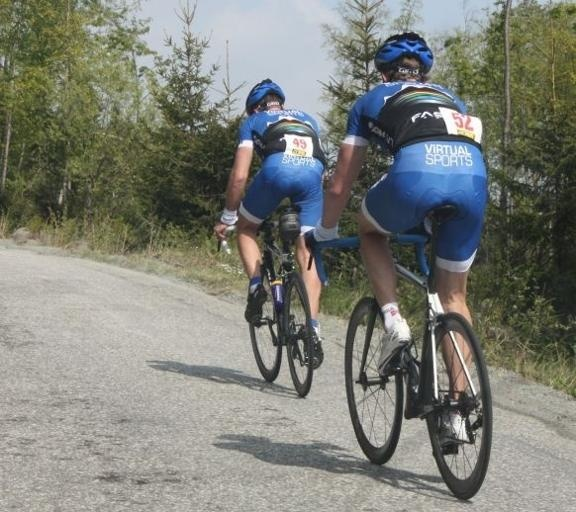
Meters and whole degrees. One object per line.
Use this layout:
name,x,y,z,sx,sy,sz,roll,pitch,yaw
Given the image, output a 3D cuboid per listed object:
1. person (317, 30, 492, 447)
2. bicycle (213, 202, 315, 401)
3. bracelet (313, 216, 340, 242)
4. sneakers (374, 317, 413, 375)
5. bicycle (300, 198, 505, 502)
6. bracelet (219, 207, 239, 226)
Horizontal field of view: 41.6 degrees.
person,0.831,-0.166,5.039,0.989,2.666,1.475,1,0,-17
bicycle,-0.033,0.359,6.509,0.520,1.532,1.325,3,7,-7
bracelet,0.264,-0.169,5.078,0.116,0.130,0.158,-16,-11,-15
sneakers,0.620,0.549,4.643,0.126,0.192,0.405,-1,-35,-13
bicycle,0.845,0.515,4.703,0.465,1.705,1.336,2,7,-23
bracelet,-0.543,-0.373,7.011,0.115,0.150,0.176,4,10,4
